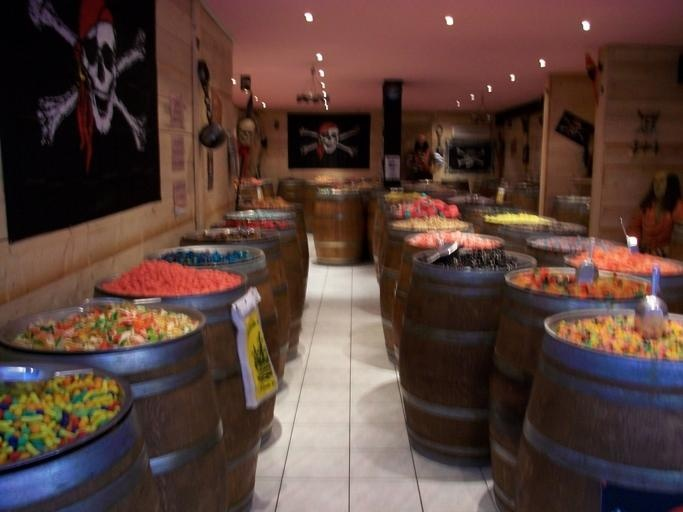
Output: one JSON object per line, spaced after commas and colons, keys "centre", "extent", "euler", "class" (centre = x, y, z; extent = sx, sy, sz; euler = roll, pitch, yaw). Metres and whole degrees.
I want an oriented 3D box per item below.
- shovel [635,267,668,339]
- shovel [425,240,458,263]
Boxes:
{"centre": [1.030, 0.147, 1.489], "extent": [0.092, 0.253, 0.094], "euler": [-17, 18, -29], "class": "shovel"}
{"centre": [0.604, -0.023, 2.704], "extent": [0.252, 0.057, 0.090], "euler": [-38, 33, -24], "class": "shovel"}
